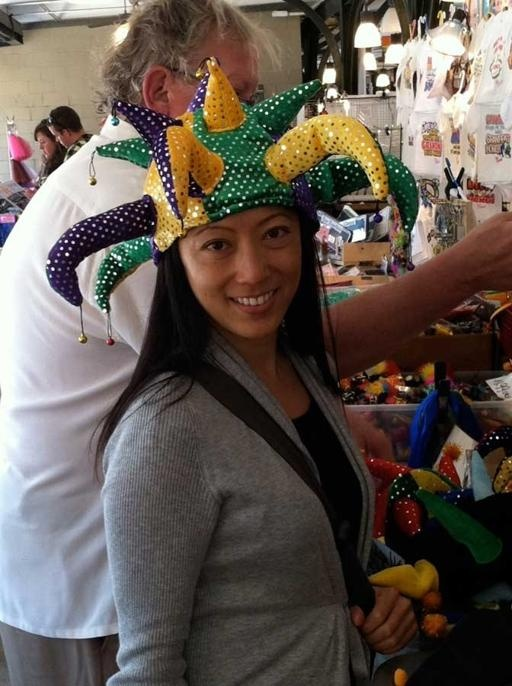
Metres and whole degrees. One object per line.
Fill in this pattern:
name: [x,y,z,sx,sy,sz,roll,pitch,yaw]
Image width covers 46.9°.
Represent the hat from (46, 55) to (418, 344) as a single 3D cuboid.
hat: [-0.066,-0.248,0.881,0.517,0.288,0.410,-17,4,-15]
